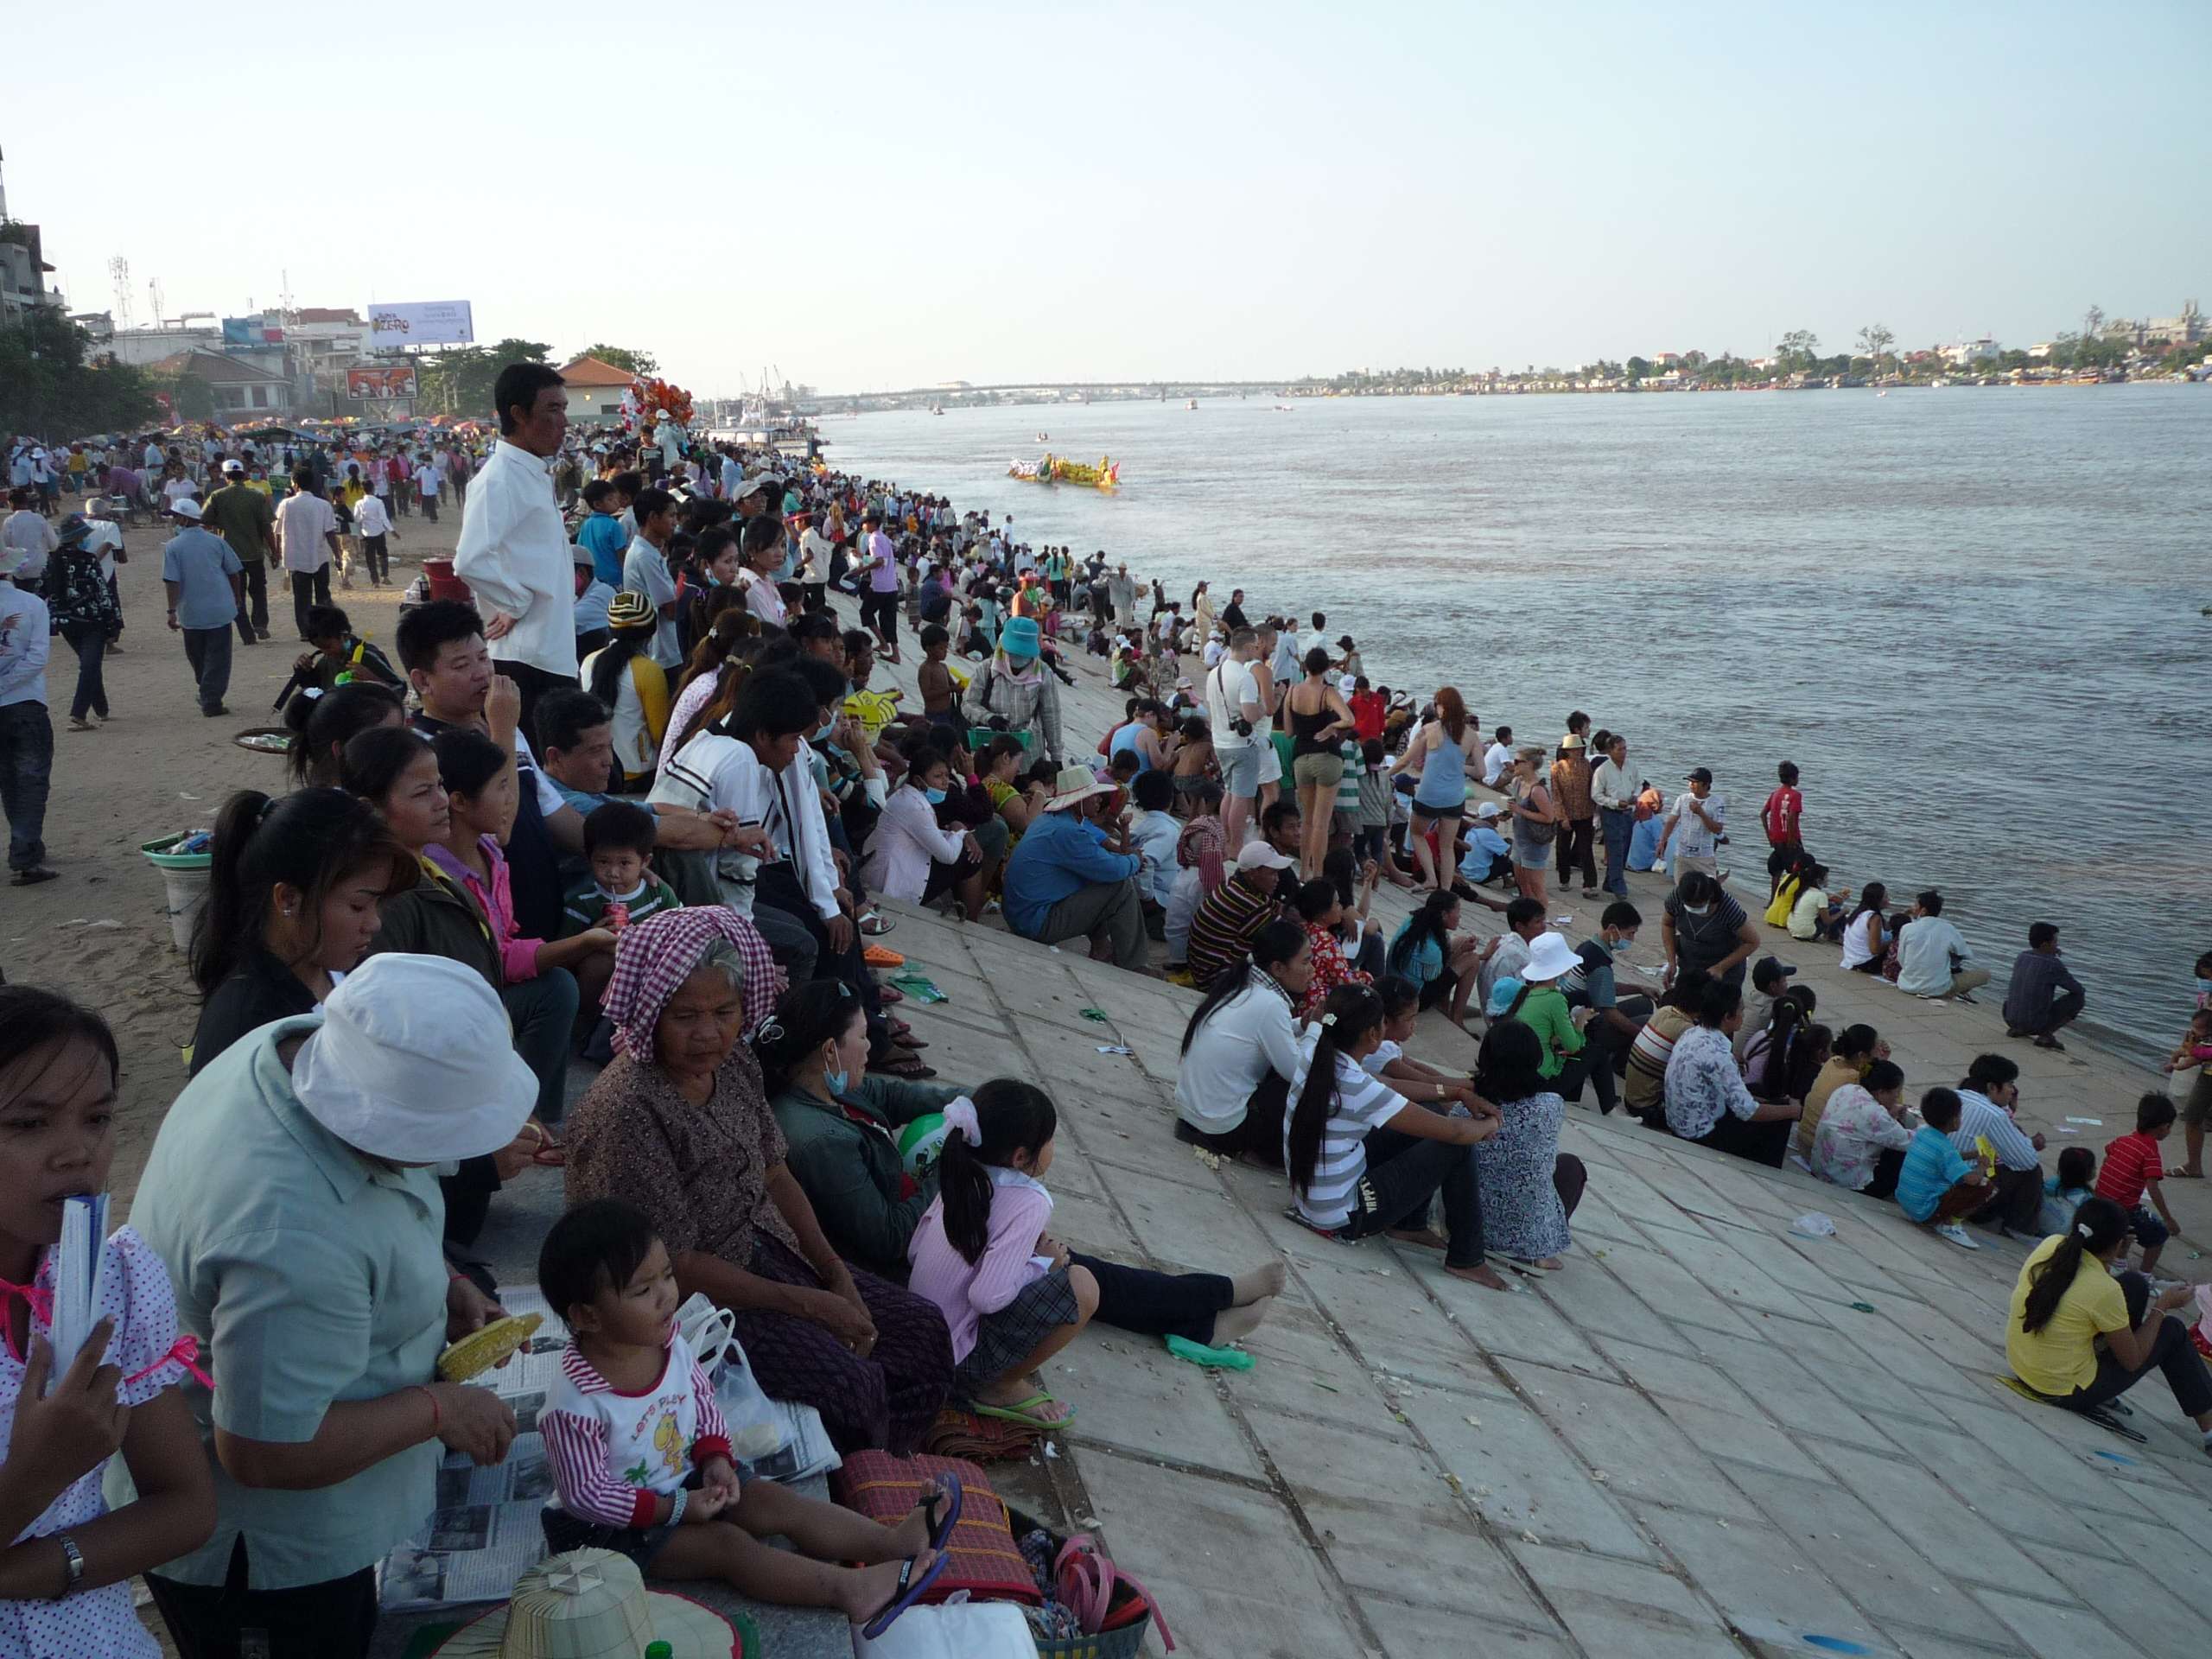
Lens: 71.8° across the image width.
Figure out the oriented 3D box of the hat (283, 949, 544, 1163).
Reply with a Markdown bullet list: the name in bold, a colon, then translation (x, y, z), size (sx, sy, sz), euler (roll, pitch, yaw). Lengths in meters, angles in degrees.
- **hat**: translation (-1.535, 0.524, 3.380), size (0.484, 0.252, 0.463), euler (37, 45, 1)

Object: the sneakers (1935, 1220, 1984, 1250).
- **sneakers**: translation (5.783, 2.763, 10.395), size (0.233, 0.093, 0.080), euler (27, 60, 20)

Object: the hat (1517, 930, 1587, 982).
- **hat**: translation (2.771, 0.810, 9.657), size (0.371, 0.200, 0.384), euler (-13, 12, 4)

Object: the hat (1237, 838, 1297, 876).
- **hat**: translation (1.108, 0.195, 10.525), size (0.310, 0.118, 0.208), euler (0, 9, -14)
